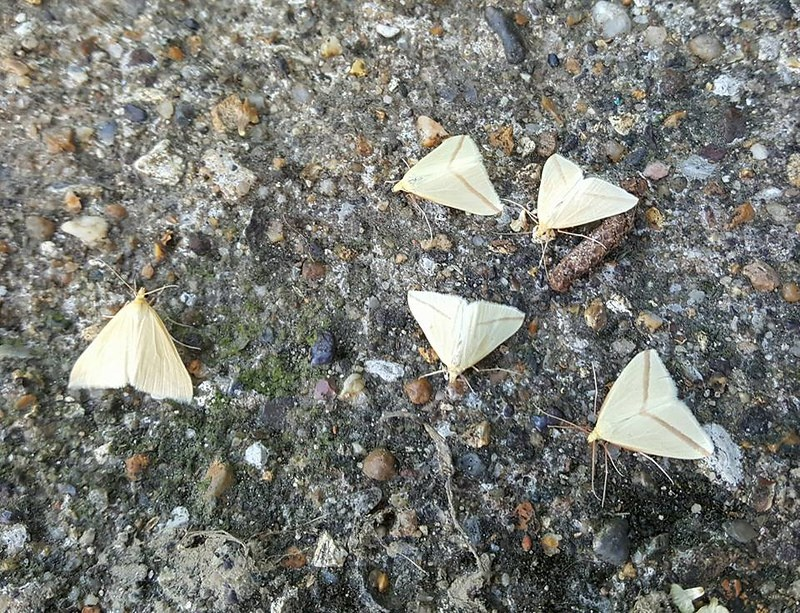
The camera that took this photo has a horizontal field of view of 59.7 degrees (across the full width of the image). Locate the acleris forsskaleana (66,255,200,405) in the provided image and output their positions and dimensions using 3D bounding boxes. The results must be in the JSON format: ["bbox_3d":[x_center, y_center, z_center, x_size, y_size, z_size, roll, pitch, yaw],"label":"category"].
[{"bbox_3d":[-1.374,0.212,3.611,0.607,0.235,0.479,3,68,3],"label":"acleris forsskaleana"}]

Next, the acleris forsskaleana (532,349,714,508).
[{"bbox_3d":[1.195,0.590,3.572,0.608,0.187,0.742,-21,81,8],"label":"acleris forsskaleana"}]

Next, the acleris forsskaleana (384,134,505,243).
[{"bbox_3d":[0.266,-0.713,3.759,0.598,0.191,0.383,6,68,4],"label":"acleris forsskaleana"}]

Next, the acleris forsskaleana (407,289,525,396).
[{"bbox_3d":[0.328,0.176,3.644,0.616,0.157,0.417,7,68,4],"label":"acleris forsskaleana"}]

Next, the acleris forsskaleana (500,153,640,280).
[{"bbox_3d":[1.004,-0.632,4.045,0.860,0.456,0.502,11,26,3],"label":"acleris forsskaleana"}]
